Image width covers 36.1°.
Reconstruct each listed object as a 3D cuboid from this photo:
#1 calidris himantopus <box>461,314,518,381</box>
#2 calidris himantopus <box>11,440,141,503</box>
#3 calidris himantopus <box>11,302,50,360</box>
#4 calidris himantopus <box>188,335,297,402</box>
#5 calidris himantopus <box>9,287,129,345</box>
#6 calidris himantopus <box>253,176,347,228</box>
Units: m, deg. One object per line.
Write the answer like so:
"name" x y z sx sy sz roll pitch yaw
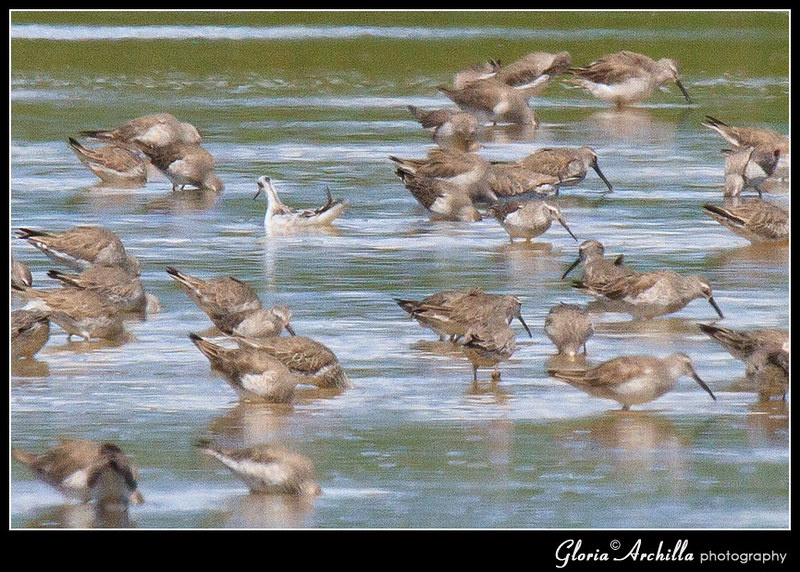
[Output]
"calidris himantopus" 1.098 0.791 15.157 0.611 0.728 0.689 -4 8 6
"calidris himantopus" -3.211 1.902 12.521 1.385 0.572 0.378 0 10 29
"calidris himantopus" -4.666 0.600 15.553 0.212 0.639 0.560 1 11 37
"calidris himantopus" -1.828 1.003 14.527 1.377 0.396 0.605 35 -31 -25
"calidris himantopus" -4.269 0.336 16.140 0.708 0.495 1.768 -23 -35 38
"calidris himantopus" -1.677 -1.430 21.417 1.874 1.069 0.584 -2 5 28
